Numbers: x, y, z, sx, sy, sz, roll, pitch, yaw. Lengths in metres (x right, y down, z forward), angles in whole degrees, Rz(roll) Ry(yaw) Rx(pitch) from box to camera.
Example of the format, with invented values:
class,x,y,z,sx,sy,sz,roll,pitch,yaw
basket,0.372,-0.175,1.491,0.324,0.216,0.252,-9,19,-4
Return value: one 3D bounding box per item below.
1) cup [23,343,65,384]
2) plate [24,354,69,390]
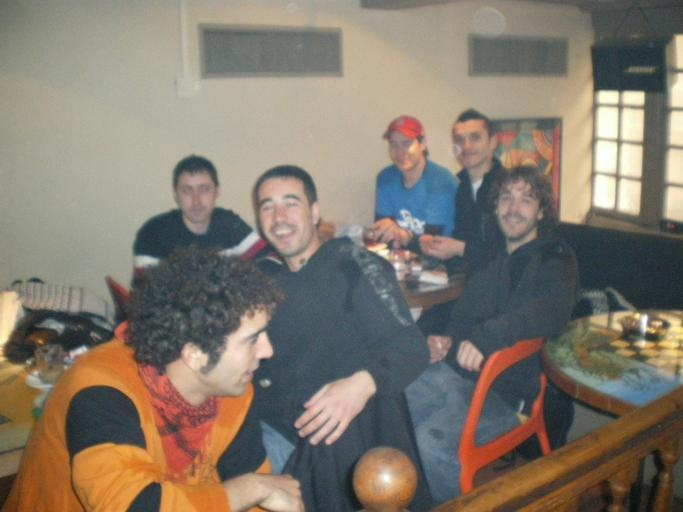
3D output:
class,x,y,z,sx,sy,sz,roll,pitch,yaw
cup,-0.957,0.349,2.230,0.128,0.119,0.164,-22,-7,-29
plate,-0.967,0.383,2.238,0.096,0.072,0.100,3,22,20
